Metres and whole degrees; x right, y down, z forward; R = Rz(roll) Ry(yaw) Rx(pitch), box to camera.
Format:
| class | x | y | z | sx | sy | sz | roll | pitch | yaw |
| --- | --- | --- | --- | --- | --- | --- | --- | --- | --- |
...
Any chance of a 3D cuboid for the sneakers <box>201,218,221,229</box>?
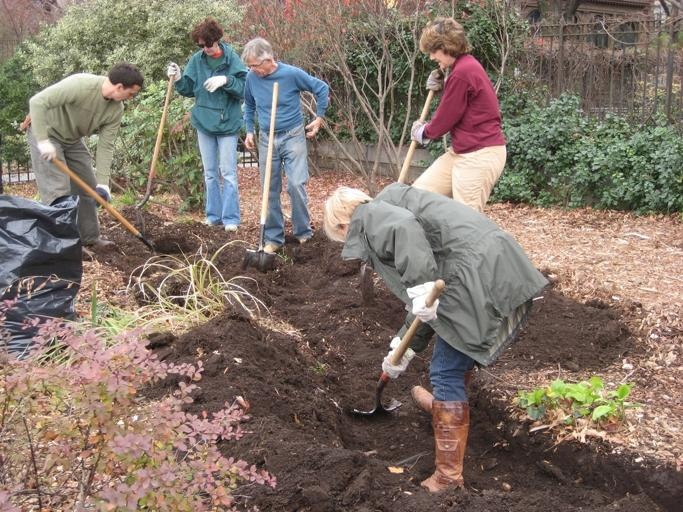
| class | x | y | z | sx | sy | sz | roll | pitch | yaw |
| --- | --- | --- | --- | --- | --- | --- | --- | --- | --- |
| sneakers | -1.600 | -0.395 | 8.011 | 0.213 | 0.092 | 0.112 | 35 | -15 | -37 |

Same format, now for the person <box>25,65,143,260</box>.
| class | x | y | z | sx | sy | sz | roll | pitch | yaw |
| --- | --- | --- | --- | --- | --- | --- | --- | --- | --- |
| person | -2.477 | -0.872 | 6.159 | 0.983 | 1.873 | 0.943 | 17 | 25 | 41 |

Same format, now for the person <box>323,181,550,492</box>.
| class | x | y | z | sx | sy | sz | roll | pitch | yaw |
| --- | --- | --- | --- | --- | --- | --- | --- | --- | --- |
| person | 0.598 | 0.517 | 4.201 | 1.133 | 1.882 | 0.882 | 17 | 25 | 41 |

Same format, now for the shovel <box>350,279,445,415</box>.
| class | x | y | z | sx | sy | sz | roll | pitch | yaw |
| --- | --- | --- | --- | --- | --- | --- | --- | --- | --- |
| shovel | 0.388 | 0.729 | 4.433 | 0.218 | 1.066 | 0.543 | 33 | 36 | 27 |

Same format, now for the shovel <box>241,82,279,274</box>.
| class | x | y | z | sx | sy | sz | roll | pitch | yaw |
| --- | --- | --- | --- | --- | --- | --- | --- | --- | --- |
| shovel | -0.827 | -0.851 | 6.733 | 0.417 | 1.825 | 1.005 | -2 | 19 | -5 |

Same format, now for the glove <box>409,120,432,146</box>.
| class | x | y | z | sx | sy | sz | roll | pitch | yaw |
| --- | --- | --- | --- | --- | --- | --- | --- | --- | --- |
| glove | 0.811 | -1.136 | 6.067 | 0.106 | 0.245 | 0.247 | 19 | 9 | -26 |

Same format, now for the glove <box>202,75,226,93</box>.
| class | x | y | z | sx | sy | sz | roll | pitch | yaw |
| --- | --- | --- | --- | --- | --- | --- | --- | --- | --- |
| glove | -1.416 | -1.959 | 7.334 | 0.153 | 0.070 | 0.257 | 29 | 31 | 13 |

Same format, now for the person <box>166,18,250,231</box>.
| class | x | y | z | sx | sy | sz | roll | pitch | yaw |
| --- | --- | --- | --- | --- | --- | --- | --- | --- | --- |
| person | -1.513 | -1.523 | 7.690 | 0.835 | 2.442 | 0.581 | -1 | 19 | -3 |

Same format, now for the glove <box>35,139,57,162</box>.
| class | x | y | z | sx | sy | sz | roll | pitch | yaw |
| --- | --- | --- | --- | --- | --- | --- | --- | --- | --- |
| glove | -2.538 | -0.909 | 5.575 | 0.107 | 0.187 | 0.264 | -11 | 21 | -29 |

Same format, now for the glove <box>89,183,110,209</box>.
| class | x | y | z | sx | sy | sz | roll | pitch | yaw |
| --- | --- | --- | --- | --- | --- | --- | --- | --- | --- |
| glove | -2.329 | -0.586 | 6.326 | 0.224 | 0.238 | 0.091 | 7 | -11 | -23 |
